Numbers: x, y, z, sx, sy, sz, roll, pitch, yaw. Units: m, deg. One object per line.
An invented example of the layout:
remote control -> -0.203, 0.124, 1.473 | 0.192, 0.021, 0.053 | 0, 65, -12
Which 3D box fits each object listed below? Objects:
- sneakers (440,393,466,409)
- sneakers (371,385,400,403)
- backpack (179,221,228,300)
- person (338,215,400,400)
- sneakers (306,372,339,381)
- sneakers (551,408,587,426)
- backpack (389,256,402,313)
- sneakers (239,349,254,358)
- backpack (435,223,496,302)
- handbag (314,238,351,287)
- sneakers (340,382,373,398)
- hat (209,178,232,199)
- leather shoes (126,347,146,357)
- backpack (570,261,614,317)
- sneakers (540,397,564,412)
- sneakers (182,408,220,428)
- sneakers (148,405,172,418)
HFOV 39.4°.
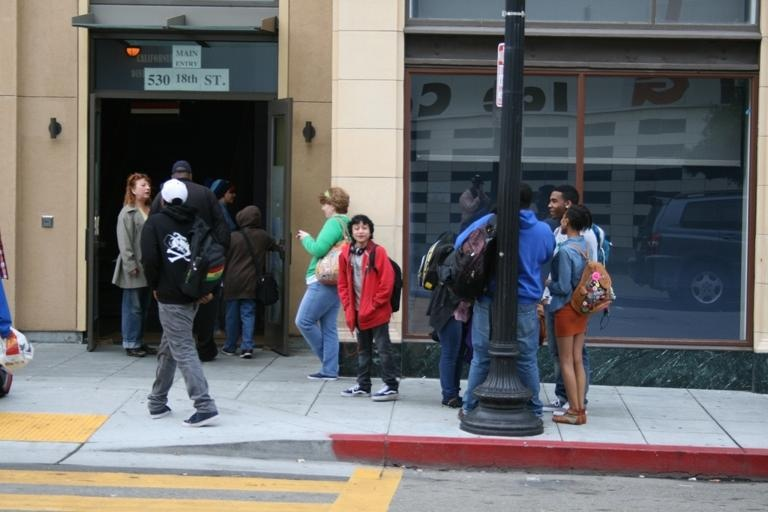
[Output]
sneakers -> 0.892, 1.884, 13.758 | 0.274, 0.123, 0.119 | -2, -2, 9
sneakers -> 0.000, 1.811, 14.004 | 0.396, 0.208, 0.160 | 1, -1, -11
backpack -> -2.220, 0.038, 13.035 | 0.482, 0.909, 0.672 | 22, 17, 15
person -> -0.209, 0.677, 13.931 | 0.840, 2.362, 0.541 | 3, 14, 11
sneakers -> -0.878, 1.680, 14.875 | 0.391, 0.165, 0.147 | 5, -6, 4
sneakers -> 2.288, 1.969, 13.249 | 0.352, 0.157, 0.195 | 3, 3, 25
backpack -> 0.144, 0.393, 13.894 | 0.138, 0.725, 0.296 | 1, 14, 2
sneakers -> -2.069, 1.464, 16.034 | 0.118, 0.133, 0.303 | 0, 2, -10
backpack -> 1.100, 0.042, 13.098 | 0.361, 0.876, 0.646 | 26, 16, -10
handbag -> -0.674, 0.072, 14.319 | 0.339, 0.674, 0.470 | 21, -1, -23
sneakers -> -0.366, 1.778, 14.169 | 0.421, 0.189, 0.161 | 3, -2, 2
hat -> -2.737, -1.146, 17.746 | 0.421, 0.398, 0.325 | 11, 14, 29
leather shoes -> -3.689, 1.446, 16.014 | 0.333, 0.242, 0.120 | -2, 0, 5
backpack -> 2.582, 0.374, 13.349 | 0.391, 0.719, 0.612 | 10, 6, 39
sneakers -> 2.184, 1.924, 13.773 | 0.326, 0.155, 0.123 | 1, 2, 27
sneakers -> -2.200, 1.969, 12.940 | 0.474, 0.227, 0.166 | -1, 3, 3
sneakers -> -2.772, 1.920, 13.230 | 0.109, 0.129, 0.293 | 3, 4, 28
